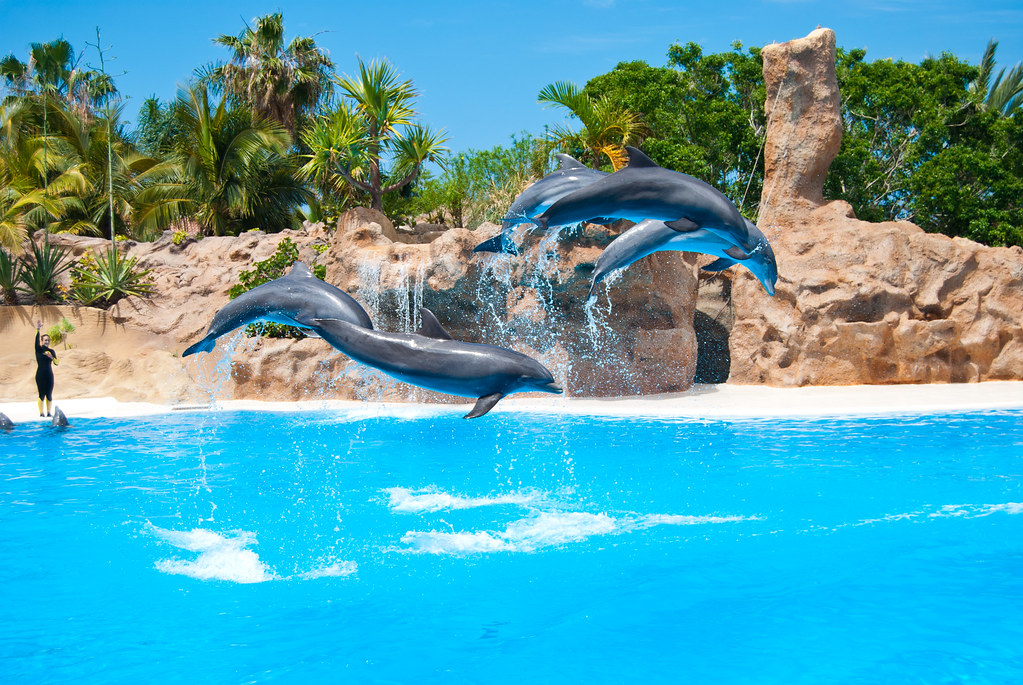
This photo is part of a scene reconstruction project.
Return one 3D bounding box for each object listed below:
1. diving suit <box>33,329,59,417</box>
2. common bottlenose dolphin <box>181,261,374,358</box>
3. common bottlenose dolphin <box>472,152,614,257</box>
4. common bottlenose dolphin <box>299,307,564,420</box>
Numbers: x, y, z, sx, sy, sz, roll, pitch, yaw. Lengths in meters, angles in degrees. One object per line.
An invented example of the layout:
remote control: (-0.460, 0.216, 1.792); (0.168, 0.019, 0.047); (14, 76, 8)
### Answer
diving suit: (-9.033, 0.574, 18.109); (0.321, 1.695, 0.878); (-2, 3, -25)
common bottlenose dolphin: (-2.849, -0.390, 11.584); (2.162, 1.054, 1.169); (-4, 1, 9)
common bottlenose dolphin: (0.368, -1.793, 11.849); (2.051, 1.003, 0.877); (-24, 3, 10)
common bottlenose dolphin: (-0.870, 0.231, 11.280); (3.053, 1.219, 1.187); (14, 6, -6)
